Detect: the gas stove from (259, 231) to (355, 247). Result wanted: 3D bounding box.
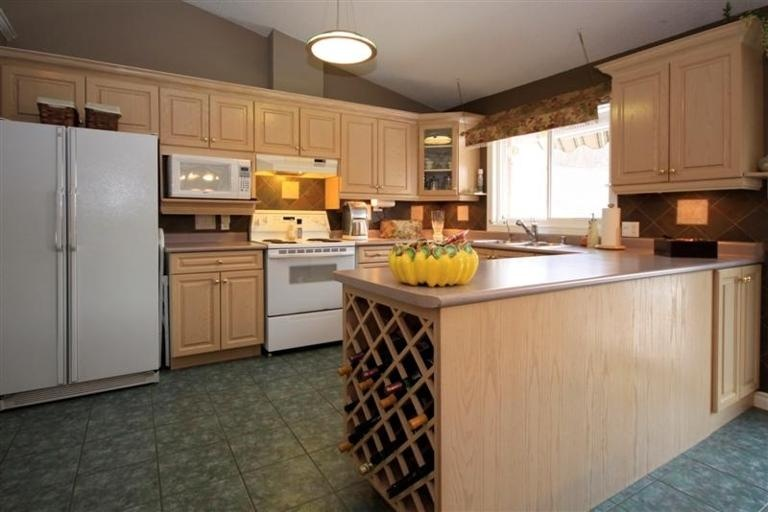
[{"bbox_3d":[-0.840,-0.164,5.351,0.955,0.075,0.737,-2,6,-21],"label":"gas stove"}]

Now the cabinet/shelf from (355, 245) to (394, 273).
[{"bbox_3d":[-0.072,-0.002,5.395,0.431,0.231,0.139,-4,7,-32],"label":"cabinet/shelf"}]

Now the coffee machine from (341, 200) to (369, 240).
[{"bbox_3d":[-0.318,-0.415,5.729,0.247,0.434,0.335,-2,6,-15],"label":"coffee machine"}]

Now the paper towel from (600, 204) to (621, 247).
[{"bbox_3d":[2.142,-0.259,4.595,0.217,0.368,0.206,-1,6,-6],"label":"paper towel"}]

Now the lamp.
[{"bbox_3d":[-0.344,-1.877,4.215,0.505,0.498,0.512,0,-7,-5],"label":"lamp"}]

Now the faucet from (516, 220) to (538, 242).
[{"bbox_3d":[1.598,-0.278,5.482,0.224,0.232,0.559,1,6,16],"label":"faucet"}]

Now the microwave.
[{"bbox_3d":[-1.689,-0.753,4.825,0.825,0.405,0.424,0,0,-29],"label":"microwave"}]

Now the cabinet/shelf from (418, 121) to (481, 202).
[{"bbox_3d":[0.801,-1.198,6.104,0.738,0.995,0.226,1,6,10],"label":"cabinet/shelf"}]
